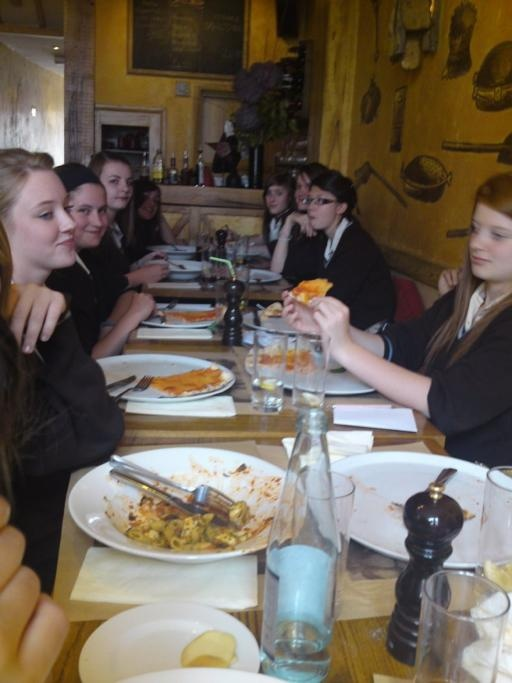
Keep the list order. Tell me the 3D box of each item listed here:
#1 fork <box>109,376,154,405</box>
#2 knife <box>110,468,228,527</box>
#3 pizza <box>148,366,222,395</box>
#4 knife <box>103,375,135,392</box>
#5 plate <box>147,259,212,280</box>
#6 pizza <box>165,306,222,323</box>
[{"bbox_3d":[-0.296,0.110,1.313,0.026,0.024,0.207,14,22,14],"label":"fork"},{"bbox_3d":[-0.111,0.242,0.829,0.236,0.033,0.070,16,14,9],"label":"knife"},{"bbox_3d":[-0.168,0.101,1.352,0.103,0.022,0.081,-12,16,-40],"label":"pizza"},{"bbox_3d":[-0.337,0.103,1.326,0.020,0.023,0.103,-24,7,27],"label":"knife"},{"bbox_3d":[-0.471,-0.439,3.221,0.230,0.058,0.214,-11,16,-42],"label":"plate"},{"bbox_3d":[-0.257,-0.108,2.185,0.172,0.027,0.105,-5,12,-1],"label":"pizza"}]
